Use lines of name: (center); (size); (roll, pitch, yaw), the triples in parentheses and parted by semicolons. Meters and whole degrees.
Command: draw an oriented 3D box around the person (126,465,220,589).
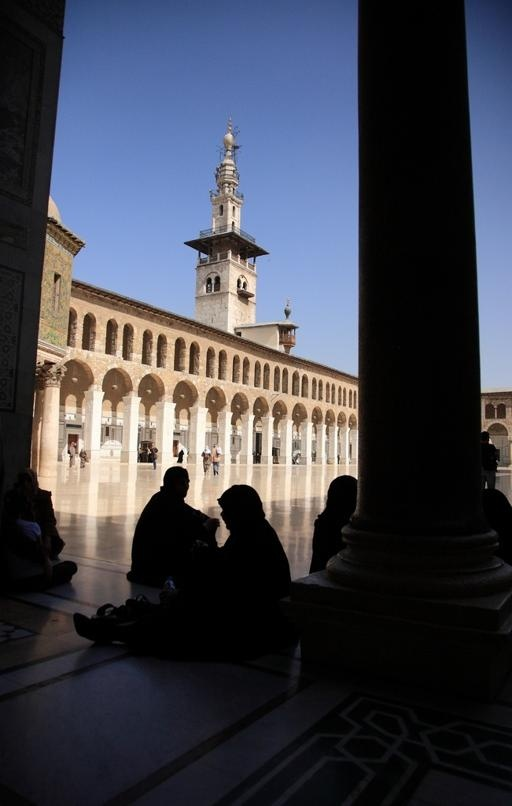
person: (-0.588, 0.867, 4.124); (0.531, 0.828, 0.506); (6, -12, 8)

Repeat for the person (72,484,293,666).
person: (-0.310, 0.804, 2.853); (0.913, 0.825, 0.618); (-2, -14, 9)

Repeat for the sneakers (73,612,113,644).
sneakers: (-0.718, 0.977, 2.648); (0.138, 0.062, 0.128); (2, -14, 30)
